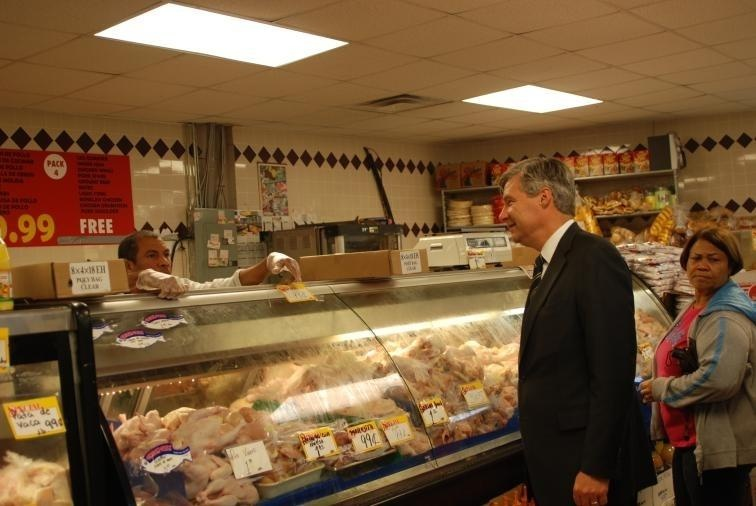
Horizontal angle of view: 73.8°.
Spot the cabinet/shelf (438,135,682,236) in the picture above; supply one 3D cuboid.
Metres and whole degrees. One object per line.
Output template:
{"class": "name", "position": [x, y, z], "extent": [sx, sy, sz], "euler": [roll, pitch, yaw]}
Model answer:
{"class": "cabinet/shelf", "position": [2.287, -0.822, 5.892], "extent": [1.590, 0.849, 0.407], "euler": [-6, -15, 21]}

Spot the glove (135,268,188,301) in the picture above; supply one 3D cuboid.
{"class": "glove", "position": [-0.891, 0.129, 2.048], "extent": [0.229, 0.086, 0.110], "euler": [-4, 5, 17]}

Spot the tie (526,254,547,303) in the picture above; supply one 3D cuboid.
{"class": "tie", "position": [0.695, 0.111, 2.161], "extent": [0.061, 0.167, 0.130], "euler": [15, -14, -31]}

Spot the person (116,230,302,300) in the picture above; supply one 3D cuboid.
{"class": "person", "position": [-1.004, 0.079, 2.768], "extent": [0.538, 0.351, 0.907], "euler": [-2, -2, -41]}
